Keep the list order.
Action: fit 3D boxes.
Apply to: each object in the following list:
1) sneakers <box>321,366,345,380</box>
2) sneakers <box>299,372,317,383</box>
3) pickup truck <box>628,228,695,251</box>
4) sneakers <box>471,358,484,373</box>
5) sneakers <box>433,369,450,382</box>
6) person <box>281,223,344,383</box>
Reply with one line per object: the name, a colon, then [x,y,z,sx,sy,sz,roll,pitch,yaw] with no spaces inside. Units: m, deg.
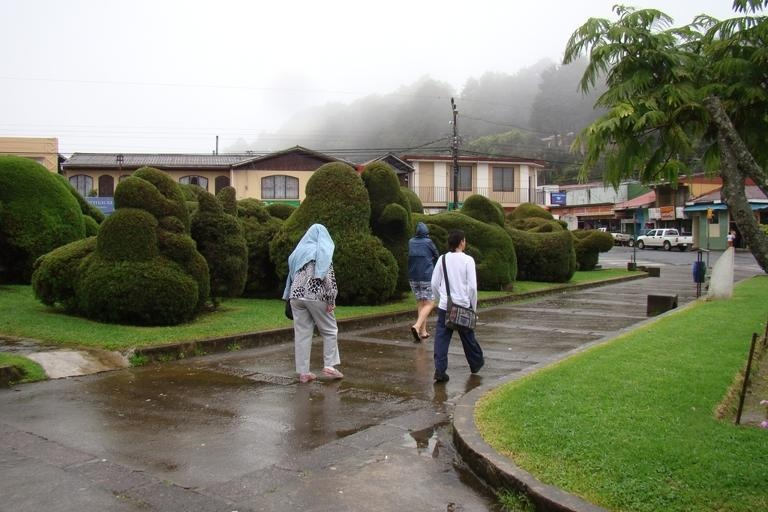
sneakers: [-0.769,1.790,8.198,0.389,0.152,0.137,9,6,0]
sneakers: [-1.122,1.819,8.024,0.229,0.095,0.124,-8,11,-41]
pickup truck: [26.427,-1.552,51.389,2.304,1.629,4.801,1,3,-32]
sneakers: [1.429,1.693,8.326,0.181,0.143,0.186,25,45,-2]
sneakers: [0.870,1.817,8.158,0.106,0.125,0.290,4,5,26]
person: [-1.072,0.697,8.154,0.647,2.320,0.535,-4,5,-25]
